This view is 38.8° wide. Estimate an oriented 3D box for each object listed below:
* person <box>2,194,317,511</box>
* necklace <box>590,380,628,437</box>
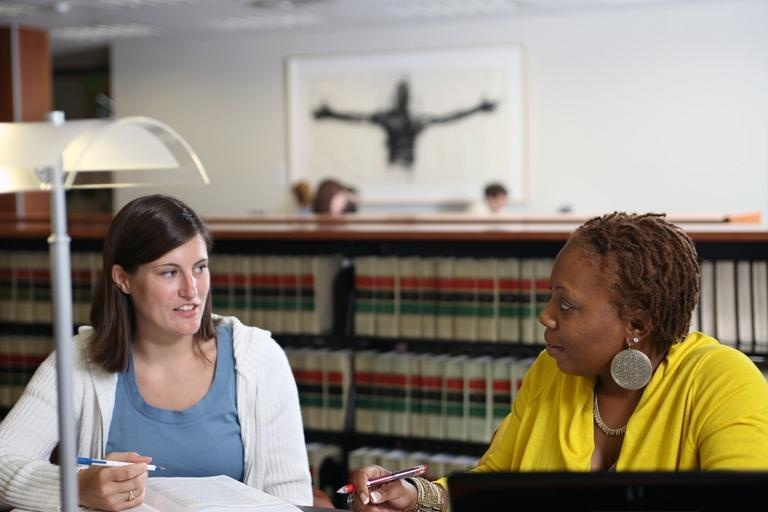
[{"bbox_3d":[-0.747,0.374,4.416,1.655,1.311,1.043,1,-7,-22],"label":"person"},{"bbox_3d":[0.765,0.517,3.659,0.198,0.183,0.044,1,-7,-1],"label":"necklace"}]
